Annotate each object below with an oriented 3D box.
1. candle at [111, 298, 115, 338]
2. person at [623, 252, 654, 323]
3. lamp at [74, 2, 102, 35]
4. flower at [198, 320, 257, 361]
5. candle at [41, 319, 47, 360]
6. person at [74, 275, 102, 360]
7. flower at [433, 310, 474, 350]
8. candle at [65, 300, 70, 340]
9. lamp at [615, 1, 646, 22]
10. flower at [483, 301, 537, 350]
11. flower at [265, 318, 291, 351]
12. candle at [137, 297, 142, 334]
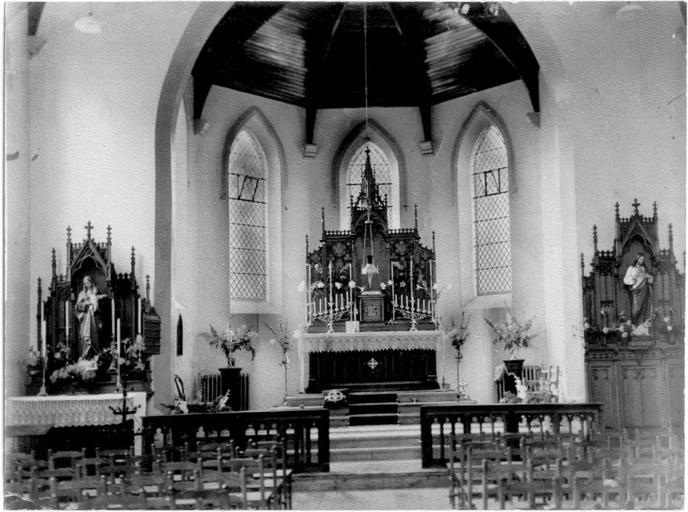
[{"bbox_3d":[-4.043,1.115,23.885,0.075,0.694,0.150,-1,-11,-10],"label":"candle"},{"bbox_3d":[5.303,0.648,24.512,0.538,1.266,0.180,-6,-12,15],"label":"person"},{"bbox_3d":[-4.481,-4.088,23.912,0.480,0.495,0.486,5,-36,-11],"label":"lamp"},{"bbox_3d":[-2.294,1.723,27.024,1.032,0.817,0.740,3,-12,-19],"label":"flower"},{"bbox_3d":[-5.185,1.470,23.540,0.081,0.701,0.183,-1,-11,-11],"label":"candle"},{"bbox_3d":[-4.467,1.106,23.779,0.441,1.419,0.171,-1,-12,-11],"label":"person"},{"bbox_3d":[2.265,1.550,27.907,0.816,0.725,0.211,-8,-23,19],"label":"flower"},{"bbox_3d":[-4.804,1.117,23.680,0.082,0.684,0.140,0,-12,-15],"label":"candle"},{"bbox_3d":[4.995,-4.276,23.970,0.222,0.227,0.593,5,-13,-35],"label":"lamp"},{"bbox_3d":[3.266,1.436,26.971,0.856,0.495,0.818,-30,22,-34],"label":"flower"},{"bbox_3d":[-1.330,1.657,27.905,0.573,0.463,0.551,1,-2,38],"label":"flower"},{"bbox_3d":[-3.604,1.088,24.021,0.105,0.656,0.056,-1,-11,-9],"label":"candle"}]
